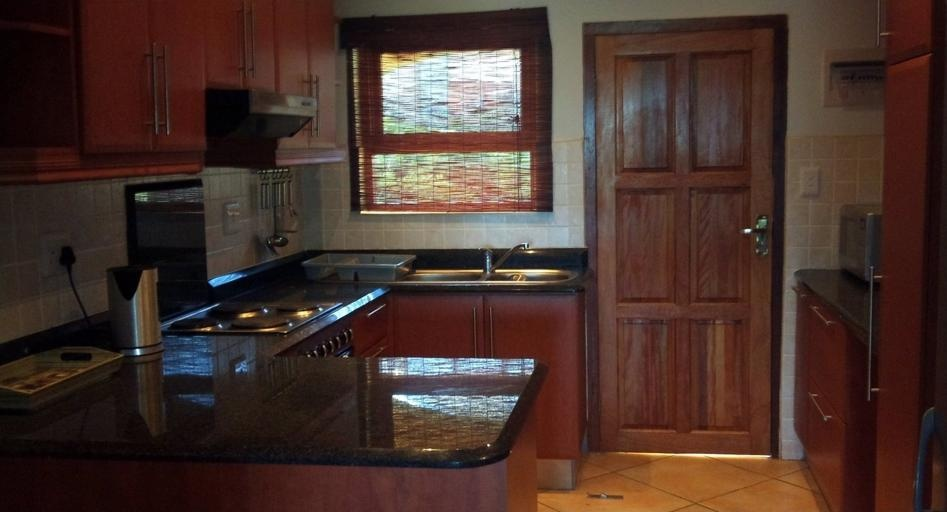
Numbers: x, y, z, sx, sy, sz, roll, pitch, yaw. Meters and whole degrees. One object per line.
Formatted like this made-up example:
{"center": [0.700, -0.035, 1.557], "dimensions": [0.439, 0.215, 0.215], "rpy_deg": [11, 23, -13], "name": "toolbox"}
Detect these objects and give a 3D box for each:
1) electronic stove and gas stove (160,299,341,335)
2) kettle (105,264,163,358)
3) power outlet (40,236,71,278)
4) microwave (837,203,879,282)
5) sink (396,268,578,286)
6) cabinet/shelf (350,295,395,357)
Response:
{"center": [-1.152, 0.300, 4.030], "dimensions": [0.859, 0.122, 1.064], "rpy_deg": [0, 3, 12], "name": "electronic stove and gas stove"}
{"center": [-1.547, 0.255, 3.448], "dimensions": [0.286, 0.373, 0.272], "rpy_deg": [0, 3, 13], "name": "kettle"}
{"center": [-1.980, -0.002, 3.545], "dimensions": [0.044, 0.146, 0.174], "rpy_deg": [0, -3, 17], "name": "power outlet"}
{"center": [2.252, -0.074, 4.393], "dimensions": [0.271, 0.479, 0.183], "rpy_deg": [2, -2, 20], "name": "microwave"}
{"center": [0.123, 0.148, 5.065], "dimensions": [0.977, 0.107, 0.360], "rpy_deg": [0, 1, 1], "name": "sink"}
{"center": [-0.612, 0.437, 4.543], "dimensions": [0.219, 0.323, 0.176], "rpy_deg": [2, 1, -2], "name": "cabinet/shelf"}
